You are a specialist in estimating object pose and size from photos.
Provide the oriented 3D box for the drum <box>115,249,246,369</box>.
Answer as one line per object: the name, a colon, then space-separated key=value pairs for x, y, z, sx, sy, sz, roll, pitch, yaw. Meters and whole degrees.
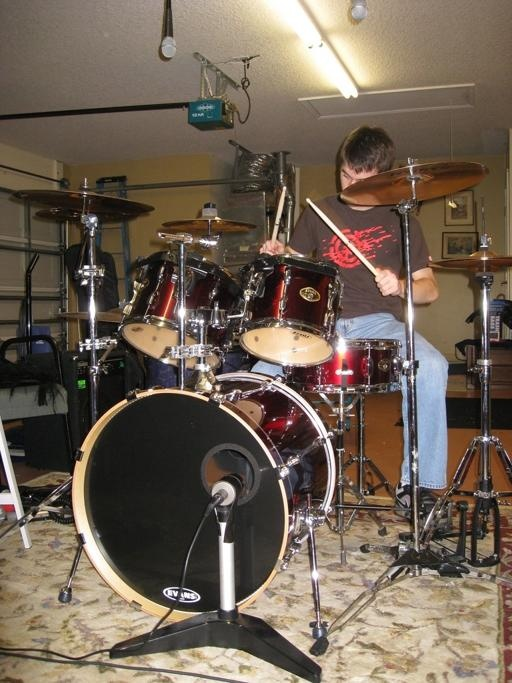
drum: x=-0.228 y=-0.089 z=2.024 sx=0.384 sy=0.391 sz=0.728 roll=-2 pitch=4 yaw=-14

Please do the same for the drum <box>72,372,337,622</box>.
drum: x=-0.150 y=0.346 z=1.878 sx=0.789 sy=0.730 sz=0.642 roll=0 pitch=4 yaw=27

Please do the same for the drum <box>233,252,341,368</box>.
drum: x=0.103 y=-0.080 z=1.925 sx=0.307 sy=0.344 sz=0.284 roll=-1 pitch=4 yaw=6

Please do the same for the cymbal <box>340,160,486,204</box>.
cymbal: x=0.476 y=-0.453 z=1.956 sx=0.417 sy=0.113 sz=0.440 roll=-1 pitch=3 yaw=6

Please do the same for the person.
person: x=0.327 y=-0.111 z=2.354 sx=0.882 sy=1.261 sz=0.772 roll=6 pitch=13 yaw=28

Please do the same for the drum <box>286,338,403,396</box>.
drum: x=0.304 y=0.096 z=1.984 sx=0.234 sy=0.082 sz=0.200 roll=5 pitch=-9 yaw=-23

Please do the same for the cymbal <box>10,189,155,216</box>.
cymbal: x=-0.614 y=-0.503 z=2.337 sx=0.272 sy=0.034 sz=0.278 roll=8 pitch=8 yaw=39

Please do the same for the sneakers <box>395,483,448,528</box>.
sneakers: x=0.546 y=0.549 z=2.145 sx=0.211 sy=0.070 sz=0.129 roll=-4 pitch=-2 yaw=26
